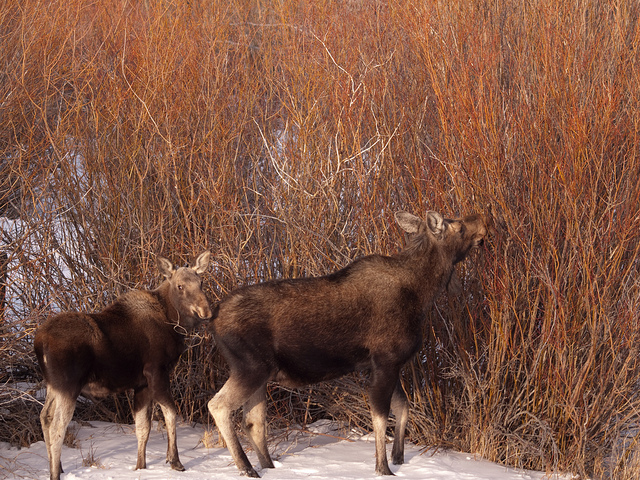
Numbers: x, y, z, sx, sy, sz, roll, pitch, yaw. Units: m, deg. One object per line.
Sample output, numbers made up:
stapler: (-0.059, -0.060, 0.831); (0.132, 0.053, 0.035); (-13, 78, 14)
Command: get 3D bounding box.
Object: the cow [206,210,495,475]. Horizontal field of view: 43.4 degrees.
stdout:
cow: (0.537, 1.445, 10.618); (2.249, 2.572, 0.809); (-2, 0, -7)
